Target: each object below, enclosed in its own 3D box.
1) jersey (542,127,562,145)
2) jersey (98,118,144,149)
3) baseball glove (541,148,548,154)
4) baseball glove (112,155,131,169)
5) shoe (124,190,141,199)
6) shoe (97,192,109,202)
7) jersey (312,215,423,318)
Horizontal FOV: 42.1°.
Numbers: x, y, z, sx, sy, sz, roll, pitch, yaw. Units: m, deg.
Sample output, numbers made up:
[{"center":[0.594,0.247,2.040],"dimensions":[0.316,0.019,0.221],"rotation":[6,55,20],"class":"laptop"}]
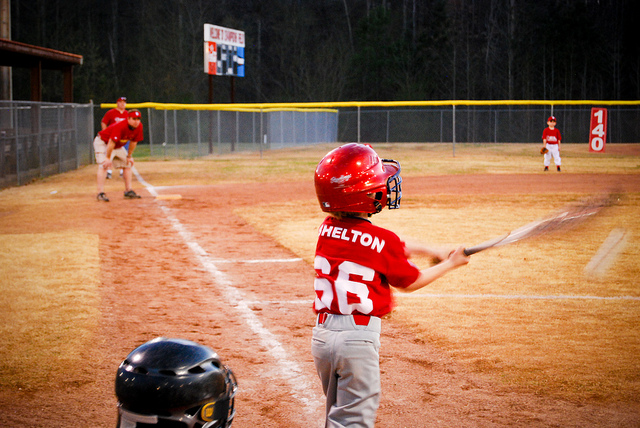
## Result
[{"center":[7.887,-2.623,28.336],"dimensions":[0.511,0.560,0.576],"rotation":[2,8,18],"class":"jersey"},{"center":[-5.171,-2.090,21.752],"dimensions":[1.050,0.782,2.089],"rotation":[-2,8,-15],"class":"jersey"},{"center":[7.614,-2.134,28.242],"dimensions":[0.178,0.141,0.196],"rotation":[-11,-30,7],"class":"baseball glove"},{"center":[-5.125,-1.335,21.685],"dimensions":[0.452,0.374,0.376],"rotation":[-2,8,-16],"class":"baseball glove"},{"center":[-4.963,-0.510,22.141],"dimensions":[0.508,0.232,0.184],"rotation":[2,1,-1],"class":"shoe"},{"center":[-5.614,-0.434,21.698],"dimensions":[0.347,0.251,0.209],"rotation":[0,8,3],"class":"shoe"},{"center":[0.688,0.708,12.872],"dimensions":[2.065,1.571,1.401],"rotation":[6,9,36],"class":"jersey"}]
